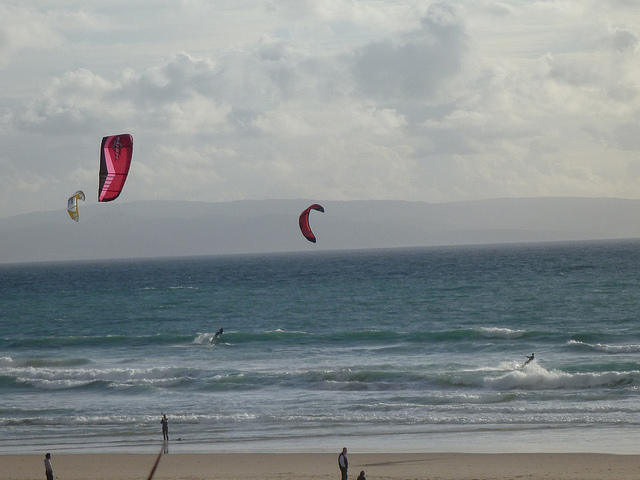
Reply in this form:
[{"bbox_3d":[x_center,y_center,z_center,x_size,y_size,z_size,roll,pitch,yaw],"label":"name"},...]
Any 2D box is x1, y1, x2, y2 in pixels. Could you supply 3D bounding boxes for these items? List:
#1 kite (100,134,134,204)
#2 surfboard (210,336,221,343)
[{"bbox_3d":[-17.734,-5.918,131.433,2.743,5.713,1.781,-2,-20,-3],"label":"kite"},{"bbox_3d":[-10.531,10.035,151.650,0.834,0.789,1.029,-11,-21,25],"label":"surfboard"}]
